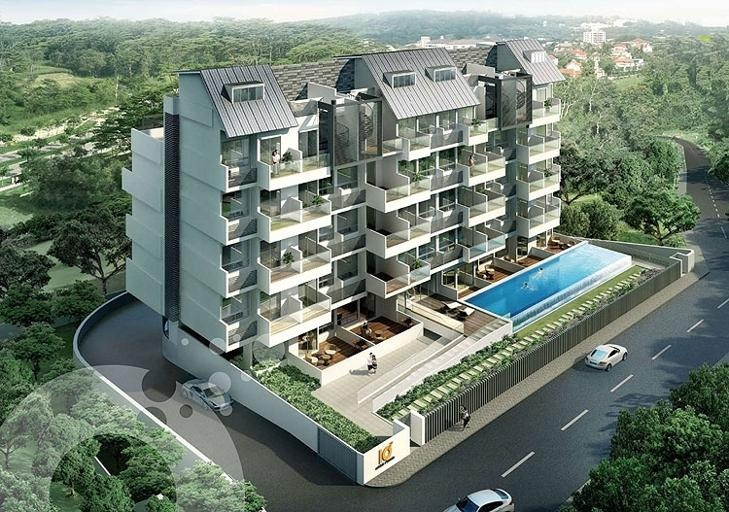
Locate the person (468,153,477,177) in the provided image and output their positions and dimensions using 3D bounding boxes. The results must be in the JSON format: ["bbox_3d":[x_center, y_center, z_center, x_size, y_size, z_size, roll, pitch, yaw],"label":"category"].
[{"bbox_3d":[10.205,-8.401,59.245,0.802,1.939,1.136,0,26,9],"label":"person"}]

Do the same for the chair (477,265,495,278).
[{"bbox_3d":[12.295,1.676,62.716,1.586,1.637,1.199,-27,68,3],"label":"chair"}]

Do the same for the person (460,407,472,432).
[{"bbox_3d":[7.467,11.663,46.294,0.654,1.280,1.029,-3,25,4],"label":"person"}]
